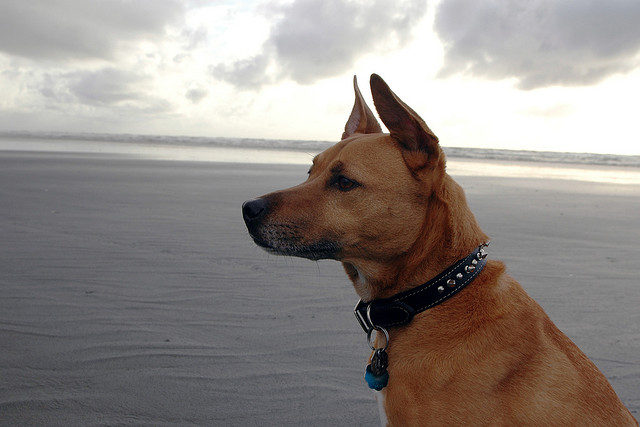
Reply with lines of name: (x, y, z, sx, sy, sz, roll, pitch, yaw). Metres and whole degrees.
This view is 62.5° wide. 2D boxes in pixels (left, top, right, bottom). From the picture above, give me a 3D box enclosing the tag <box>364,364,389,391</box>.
tag: (0.500, 1.489, 4.734, 0.220, 0.223, 0.126, 14, 20, 13)
